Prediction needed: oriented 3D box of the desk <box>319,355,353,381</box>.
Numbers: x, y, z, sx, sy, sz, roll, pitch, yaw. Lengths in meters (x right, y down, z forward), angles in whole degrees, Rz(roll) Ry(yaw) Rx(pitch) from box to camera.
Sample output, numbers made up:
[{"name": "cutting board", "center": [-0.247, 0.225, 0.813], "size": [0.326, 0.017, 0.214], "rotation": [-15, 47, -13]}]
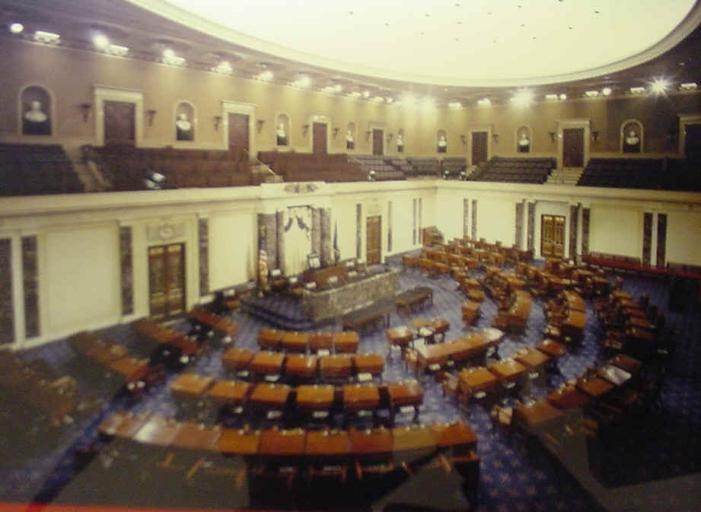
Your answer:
[{"name": "desk", "center": [-0.402, 3.145, 13.098], "size": [1.044, 0.622, 0.723], "rotation": [-2, -8, -5]}]

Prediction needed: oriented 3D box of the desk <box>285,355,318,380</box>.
[{"name": "desk", "center": [-1.438, 3.160, 13.291], "size": [0.960, 0.549, 0.490], "rotation": [-1, 8, 7]}]

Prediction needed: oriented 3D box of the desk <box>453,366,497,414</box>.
[{"name": "desk", "center": [3.588, 3.460, 12.823], "size": [1.331, 1.322, 0.892], "rotation": [-5, 11, -29]}]

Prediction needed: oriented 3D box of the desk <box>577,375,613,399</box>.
[{"name": "desk", "center": [6.485, 3.429, 12.243], "size": [0.723, 0.315, 0.611], "rotation": [-7, 10, -34]}]

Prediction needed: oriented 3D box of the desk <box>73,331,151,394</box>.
[{"name": "desk", "center": [-7.245, 3.017, 14.051], "size": [3.016, 1.138, 0.972], "rotation": [3, 9, 31]}]

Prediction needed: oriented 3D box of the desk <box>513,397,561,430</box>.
[{"name": "desk", "center": [4.657, 3.908, 11.522], "size": [1.046, 0.354, 0.636], "rotation": [-4, 8, -14]}]

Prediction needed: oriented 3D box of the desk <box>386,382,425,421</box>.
[{"name": "desk", "center": [1.477, 3.836, 12.580], "size": [0.780, 1.035, 1.055], "rotation": [-4, 9, -11]}]

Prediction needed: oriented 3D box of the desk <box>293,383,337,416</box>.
[{"name": "desk", "center": [-0.914, 3.657, 11.987], "size": [0.711, 0.280, 0.749], "rotation": [2, 10, 5]}]

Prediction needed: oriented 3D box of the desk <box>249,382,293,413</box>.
[{"name": "desk", "center": [-2.078, 3.711, 12.167], "size": [1.077, 0.582, 0.589], "rotation": [-1, 8, 6]}]

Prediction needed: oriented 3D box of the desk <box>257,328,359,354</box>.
[{"name": "desk", "center": [-1.277, 2.786, 14.415], "size": [2.520, 0.738, 0.760], "rotation": [3, -1, 2]}]

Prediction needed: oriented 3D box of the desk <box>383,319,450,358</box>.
[{"name": "desk", "center": [2.165, 2.455, 15.351], "size": [2.045, 1.069, 0.957], "rotation": [-9, 21, -24]}]

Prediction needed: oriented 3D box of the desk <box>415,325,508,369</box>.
[{"name": "desk", "center": [3.295, 2.939, 14.153], "size": [2.985, 0.843, 0.719], "rotation": [-5, 8, -23]}]

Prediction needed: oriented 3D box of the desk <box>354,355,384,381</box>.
[{"name": "desk", "center": [0.537, 3.204, 13.397], "size": [0.869, 0.640, 0.589], "rotation": [-2, 8, -4]}]

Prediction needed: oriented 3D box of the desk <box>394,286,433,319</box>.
[{"name": "desk", "center": [2.545, 1.734, 18.290], "size": [1.784, 0.857, 0.850], "rotation": [-8, 10, -39]}]
